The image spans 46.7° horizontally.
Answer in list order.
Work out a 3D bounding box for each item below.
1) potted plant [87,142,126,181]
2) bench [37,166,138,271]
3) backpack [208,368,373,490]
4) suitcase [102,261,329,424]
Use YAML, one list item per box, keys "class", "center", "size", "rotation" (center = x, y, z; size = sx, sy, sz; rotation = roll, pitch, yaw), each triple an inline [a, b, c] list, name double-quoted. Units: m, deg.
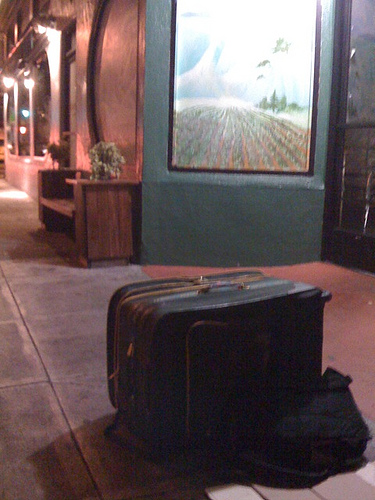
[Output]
- class: "potted plant"
  center: [-0.979, -1.094, 5.509]
  size: [0.465, 0.665, 0.225]
  rotation: [3, -8, 1]
- class: "bench"
  center: [-1.530, -0.581, 6.017]
  size: [0.538, 1.054, 2.109]
  rotation: [-6, 16, -33]
- class: "backpack"
  center: [0.401, 0.709, 1.715]
  size: [0.465, 0.473, 0.206]
  rotation: [9, -27, -7]
- class: "suitcase"
  center: [0.128, 0.395, 1.770]
  size: [0.731, 0.596, 0.442]
  rotation: [-4, 7, -27]
